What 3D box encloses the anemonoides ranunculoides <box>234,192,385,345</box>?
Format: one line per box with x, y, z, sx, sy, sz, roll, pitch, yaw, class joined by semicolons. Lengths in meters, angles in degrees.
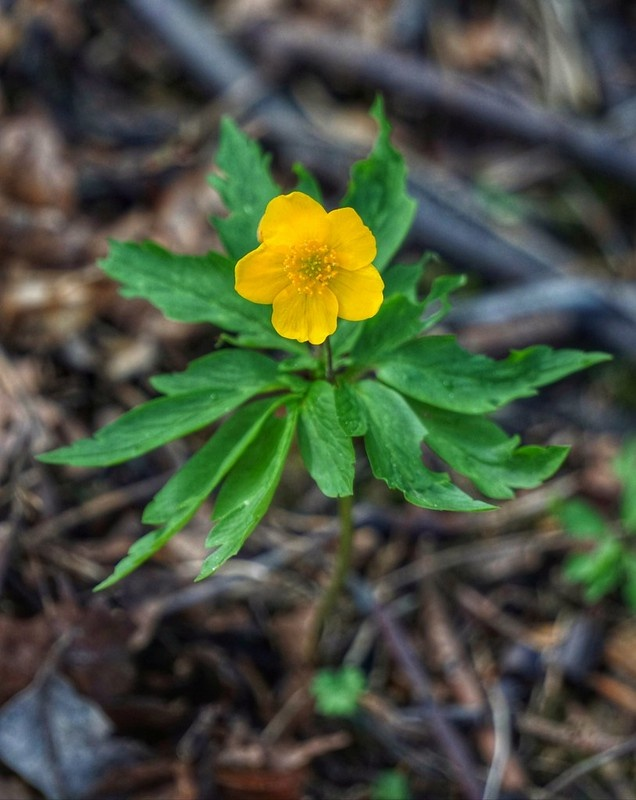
-0.010;-0.387;2.361;0.429;0.243;0.387;21;79;5;anemonoides ranunculoides
